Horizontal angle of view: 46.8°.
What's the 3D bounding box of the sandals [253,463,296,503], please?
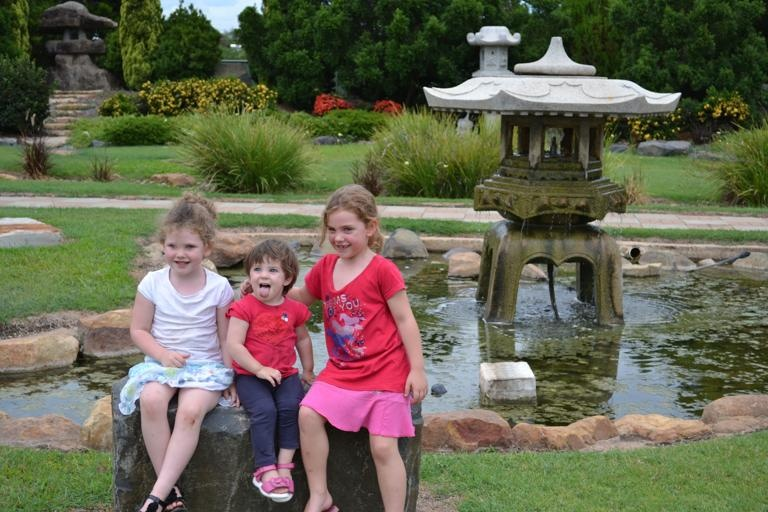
[{"bbox_3d":[-0.791,1.630,6.414,0.193,0.155,0.317,1,2,-28],"label":"sandals"}]
